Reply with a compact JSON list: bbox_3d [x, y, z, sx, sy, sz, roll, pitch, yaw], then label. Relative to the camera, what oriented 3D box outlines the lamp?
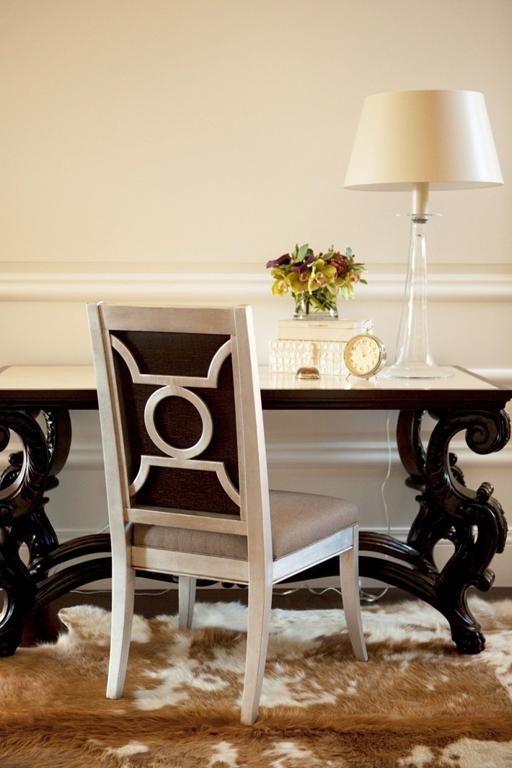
[{"bbox_3d":[0.444,-0.394,1.904,0.402,0.750,0.356,1,4,7],"label":"lamp"}]

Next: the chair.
[{"bbox_3d":[-0.070,0.263,1.566,0.399,0.859,0.535,3,5,33],"label":"chair"}]

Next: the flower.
[{"bbox_3d":[0.168,-0.266,2.038,0.256,0.165,0.228,0,-3,-4],"label":"flower"}]

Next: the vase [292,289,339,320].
[{"bbox_3d":[0.172,-0.220,1.961,0.124,0.110,0.069,0,5,8],"label":"vase"}]
